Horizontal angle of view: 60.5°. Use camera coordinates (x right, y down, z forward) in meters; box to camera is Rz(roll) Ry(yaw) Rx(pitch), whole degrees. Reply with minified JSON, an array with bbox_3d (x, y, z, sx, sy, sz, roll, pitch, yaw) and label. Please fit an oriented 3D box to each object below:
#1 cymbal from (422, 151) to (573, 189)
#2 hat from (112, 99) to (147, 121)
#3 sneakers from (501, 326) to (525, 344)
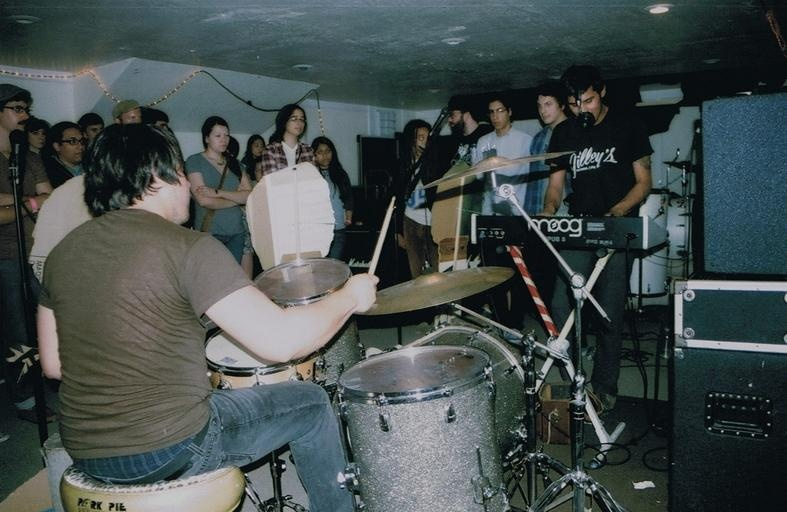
[{"bbox_3d":[0.926,-0.726,5.759,0.645,0.132,0.593,-14,-1,-12],"label":"cymbal"},{"bbox_3d":[-2.460,-1.290,6.147,0.211,0.130,0.280,-24,13,-41],"label":"hat"},{"bbox_3d":[0.821,0.542,4.634,0.127,0.040,0.133,36,10,9],"label":"sneakers"}]
